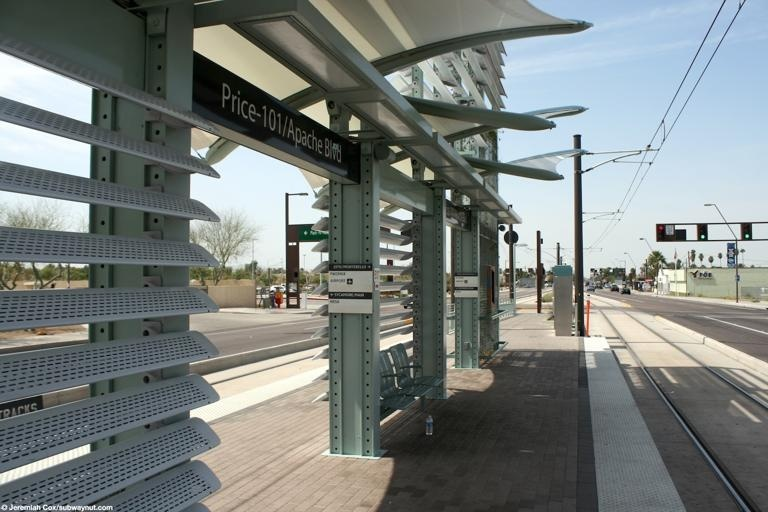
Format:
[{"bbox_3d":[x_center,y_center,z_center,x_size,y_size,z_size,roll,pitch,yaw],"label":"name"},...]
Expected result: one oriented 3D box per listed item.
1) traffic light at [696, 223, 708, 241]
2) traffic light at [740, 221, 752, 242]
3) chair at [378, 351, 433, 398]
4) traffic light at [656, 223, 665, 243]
[{"bbox_3d":[21.889,-1.635,35.003,0.524,1.092,0.351,-2,-4,33],"label":"traffic light"},{"bbox_3d":[24.936,-1.687,34.964,0.586,1.077,0.609,-2,-3,25],"label":"traffic light"},{"bbox_3d":[0.315,1.759,7.503,0.720,0.505,1.299,-2,-10,18],"label":"chair"},{"bbox_3d":[19.554,-1.624,35.858,0.399,1.062,1.109,-2,-4,35],"label":"traffic light"}]
